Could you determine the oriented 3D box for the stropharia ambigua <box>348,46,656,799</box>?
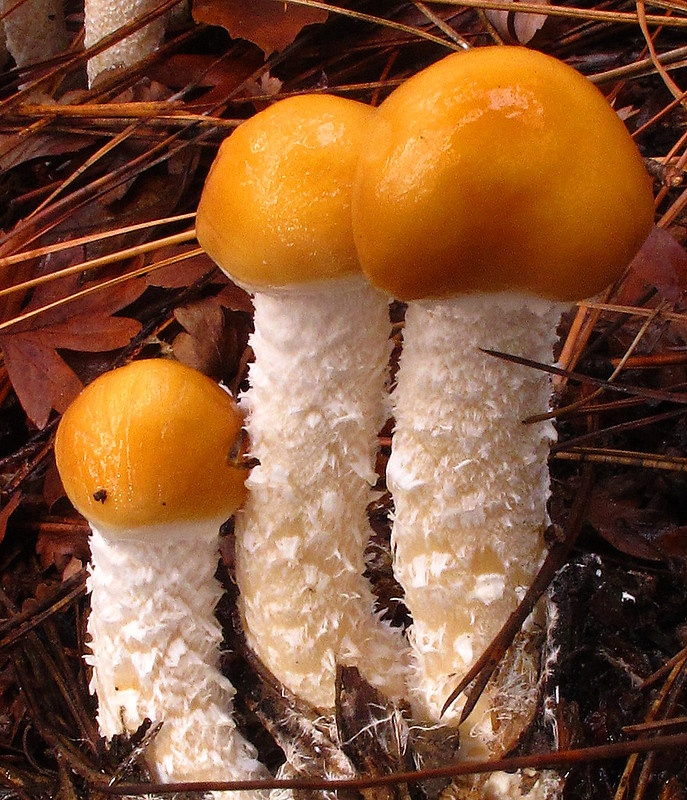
[{"bbox_3d":[0.464,-0.018,2.992,1.023,1.844,1.047,4,21,22],"label":"stropharia ambigua"}]
